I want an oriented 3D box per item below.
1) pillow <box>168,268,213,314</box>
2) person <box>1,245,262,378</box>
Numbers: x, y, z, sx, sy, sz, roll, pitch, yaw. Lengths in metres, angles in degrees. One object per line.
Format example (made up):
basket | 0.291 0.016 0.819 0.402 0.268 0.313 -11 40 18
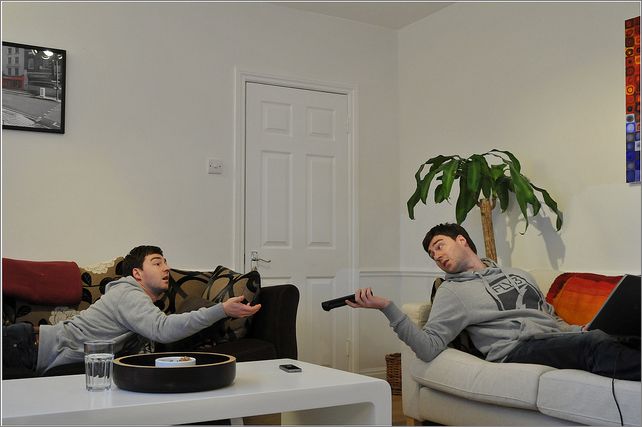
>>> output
pillow | -0.901 0.514 3.147 0.256 0.261 0.108 10 -26 -22
person | -0.955 0.552 2.343 1.239 0.488 0.694 -4 -1 -15
